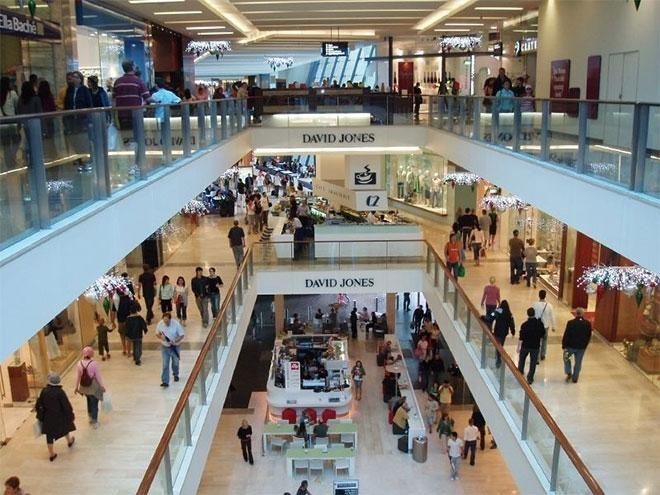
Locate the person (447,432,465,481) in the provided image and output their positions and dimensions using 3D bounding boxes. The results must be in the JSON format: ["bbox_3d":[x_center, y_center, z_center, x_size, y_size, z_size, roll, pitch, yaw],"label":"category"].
[{"bbox_3d":[3.453,5.774,14.303,0.389,1.269,0.380,-2,2,29],"label":"person"}]

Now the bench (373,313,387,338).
[{"bbox_3d":[2.262,3.477,23.097,0.687,1.171,0.664,-1,6,-17],"label":"bench"}]

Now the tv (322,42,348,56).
[{"bbox_3d":[0.181,-7.878,20.455,0.946,0.514,0.450,1,14,7],"label":"tv"}]

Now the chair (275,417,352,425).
[{"bbox_3d":[-0.560,5.556,16.566,2.432,0.376,0.514,0,-7,0],"label":"chair"}]

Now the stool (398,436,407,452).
[{"bbox_3d":[2.225,6.046,15.879,0.235,0.486,0.342,-5,18,-7],"label":"stool"}]
